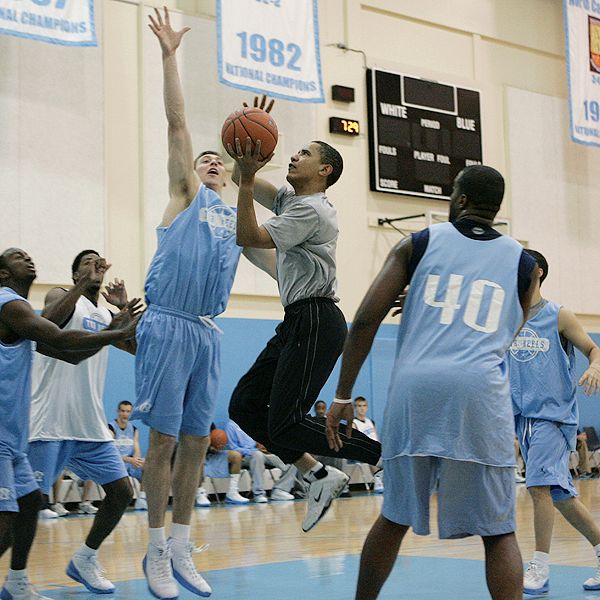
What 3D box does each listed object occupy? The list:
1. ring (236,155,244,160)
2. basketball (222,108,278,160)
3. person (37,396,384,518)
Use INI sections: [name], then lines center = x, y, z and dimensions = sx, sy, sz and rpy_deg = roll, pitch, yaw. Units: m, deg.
[ring]
center = -0.289, -0.691, 4.735
dimensions = 0.027, 0.027, 0.029
rpy_deg = 2, -37, 1
[basketball]
center = -0.231, -0.843, 4.907
dimensions = 0.271, 0.287, 0.285
rpy_deg = -1, 16, -20
[person]
center = -0.770, 1.200, 7.325
dimensions = 1.618, 0.409, 1.117
rpy_deg = 0, -17, 19
